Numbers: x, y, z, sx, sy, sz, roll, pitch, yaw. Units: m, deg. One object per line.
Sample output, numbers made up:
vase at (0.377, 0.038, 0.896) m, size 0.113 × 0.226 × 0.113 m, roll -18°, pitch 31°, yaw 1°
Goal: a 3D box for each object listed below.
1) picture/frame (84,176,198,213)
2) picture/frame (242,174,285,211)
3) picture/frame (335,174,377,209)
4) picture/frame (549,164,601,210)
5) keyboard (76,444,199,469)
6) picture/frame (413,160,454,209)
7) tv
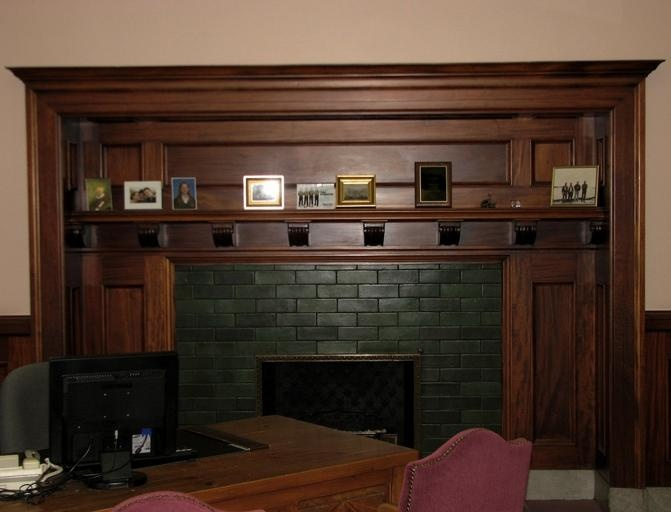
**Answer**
picture/frame at (-1.461, -0.467, 5.039) m, size 0.847 × 0.328 × 0.290 m, roll 5°, pitch 9°, yaw -10°
picture/frame at (-0.529, -0.466, 5.004) m, size 0.292 × 0.241 × 0.029 m, roll 0°, pitch 0°, yaw -3°
picture/frame at (0.147, -0.473, 4.995) m, size 0.262 × 0.210 × 0.018 m, roll 0°, pitch -4°, yaw -1°
picture/frame at (1.747, -0.492, 4.893) m, size 0.353 × 0.329 × 0.034 m, roll 1°, pitch 0°, yaw 6°
keyboard at (-0.967, 0.993, 3.270) m, size 0.387 × 0.039 × 0.207 m, roll 2°, pitch -5°, yaw -20°
picture/frame at (0.727, -0.526, 5.011) m, size 0.380 × 0.449 × 0.035 m, roll 1°, pitch -8°, yaw -1°
tv at (-1.023, 0.782, 3.169) m, size 0.610 × 0.562 × 0.229 m, roll 1°, pitch -3°, yaw -25°
